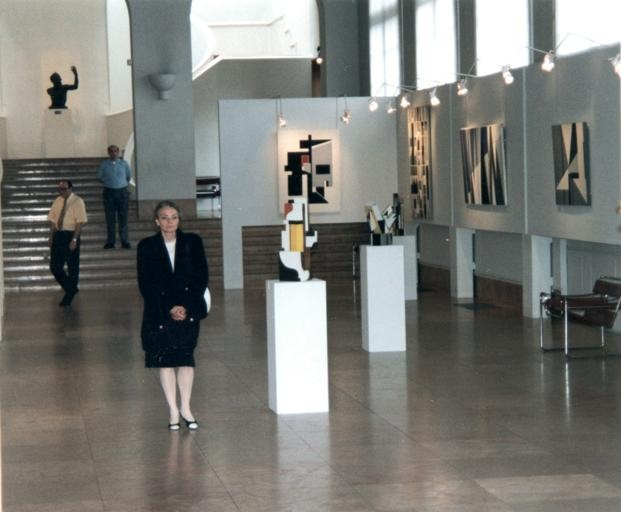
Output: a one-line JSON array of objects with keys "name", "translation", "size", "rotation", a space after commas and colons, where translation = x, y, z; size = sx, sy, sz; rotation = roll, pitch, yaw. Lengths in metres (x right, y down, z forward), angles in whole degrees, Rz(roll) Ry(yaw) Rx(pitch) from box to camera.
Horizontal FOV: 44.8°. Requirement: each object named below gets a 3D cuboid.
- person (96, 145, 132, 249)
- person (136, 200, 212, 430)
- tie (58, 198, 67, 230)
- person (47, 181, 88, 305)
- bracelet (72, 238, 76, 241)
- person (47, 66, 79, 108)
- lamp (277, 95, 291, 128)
[{"name": "person", "translation": [-3.706, -1.125, 14.285], "size": [0.580, 1.934, 0.308], "rotation": [-2, 5, -11]}, {"name": "person", "translation": [-1.045, 0.466, 5.782], "size": [0.531, 1.779, 0.397], "rotation": [-2, 5, -14]}, {"name": "tie", "translation": [-3.698, -0.648, 11.268], "size": [0.177, 0.481, 0.056], "rotation": [2, 6, 31]}, {"name": "person", "translation": [-3.703, -0.183, 11.508], "size": [0.537, 1.963, 0.836], "rotation": [-2, 5, -19]}, {"name": "bracelet", "translation": [-3.544, -0.264, 11.310], "size": [0.043, 0.048, 0.025], "rotation": [25, -11, -14]}, {"name": "person", "translation": [-6.733, -4.637, 20.381], "size": [0.926, 1.400, 0.356], "rotation": [5, 31, 2]}, {"name": "lamp", "translation": [-0.522, -2.719, 14.112], "size": [0.185, 0.555, 0.470], "rotation": [0, 5, 4]}]
